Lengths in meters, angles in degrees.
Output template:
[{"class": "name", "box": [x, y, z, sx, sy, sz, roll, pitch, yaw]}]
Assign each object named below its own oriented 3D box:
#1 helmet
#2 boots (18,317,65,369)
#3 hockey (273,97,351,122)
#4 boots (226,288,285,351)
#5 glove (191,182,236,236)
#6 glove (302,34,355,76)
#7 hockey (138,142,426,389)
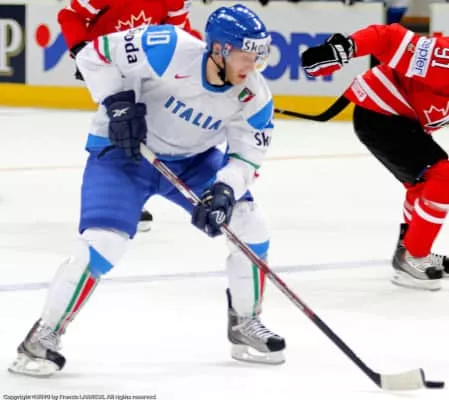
[{"class": "helmet", "box": [0.042, -0.547, 1.874, 0.215, 0.175, 0.169, 8, 16, 0]}, {"class": "boots", "box": [-0.566, 0.460, 1.789, 0.145, 0.157, 0.110, 5, 18, -12]}, {"class": "hockey", "box": [0.408, -0.505, 3.274, 0.356, 0.061, 0.305, -1, -5, -14]}, {"class": "boots", "box": [0.109, 0.446, 2.084, 0.117, 0.158, 0.282, -11, 11, -41]}, {"class": "glove", "box": [-0.037, 0.032, 1.911, 0.102, 0.183, 0.101, 20, 20, 29]}, {"class": "glove", "box": [0.461, -0.719, 2.764, 0.330, 0.105, 0.199, -4, 18, 25]}, {"class": "hockey", "box": [0.255, 0.304, 2.565, 1.646, 0.210, 0.177, 35, 60, 14]}]
